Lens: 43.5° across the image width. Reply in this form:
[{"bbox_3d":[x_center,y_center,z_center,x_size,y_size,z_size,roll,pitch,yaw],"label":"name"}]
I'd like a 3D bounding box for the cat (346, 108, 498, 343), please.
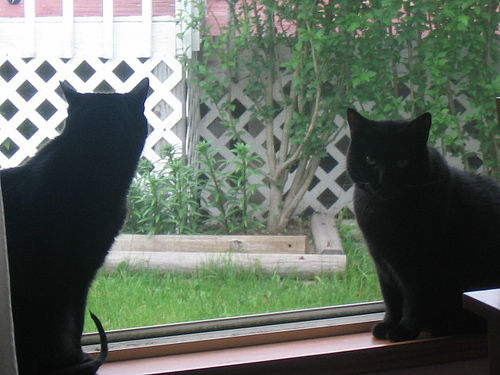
[{"bbox_3d":[0.492,0.118,1.796,0.435,0.622,0.133,2,0,9],"label":"cat"}]

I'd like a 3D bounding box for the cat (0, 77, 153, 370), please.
[{"bbox_3d":[-0.468,0.099,1.740,0.230,0.909,0.462,6,2,-2],"label":"cat"}]
